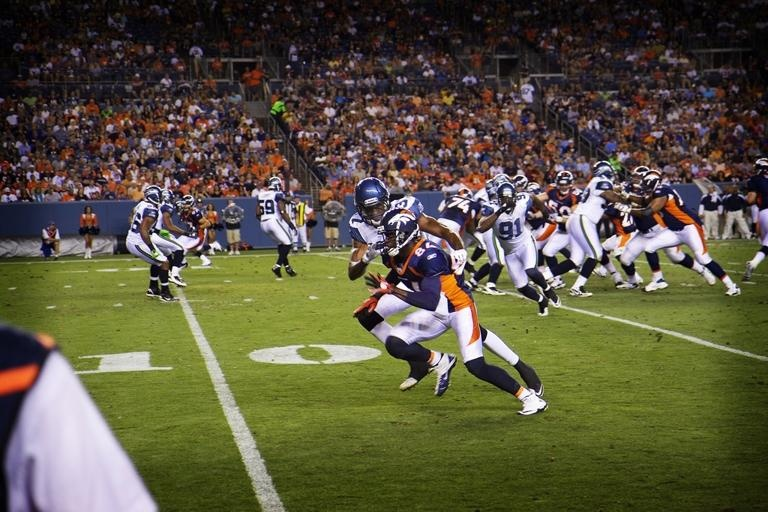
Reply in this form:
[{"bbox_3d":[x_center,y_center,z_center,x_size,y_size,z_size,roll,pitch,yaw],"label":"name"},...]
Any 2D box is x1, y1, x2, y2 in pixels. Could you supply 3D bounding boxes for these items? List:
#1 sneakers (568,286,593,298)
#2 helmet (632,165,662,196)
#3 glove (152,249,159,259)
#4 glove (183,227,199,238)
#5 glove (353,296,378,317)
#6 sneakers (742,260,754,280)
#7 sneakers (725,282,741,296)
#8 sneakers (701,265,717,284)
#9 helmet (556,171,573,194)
[{"bbox_3d":[3.128,0.570,13.578,0.415,0.171,0.135,1,26,-1],"label":"sneakers"},{"bbox_3d":[4.196,-1.222,13.512,0.583,0.470,0.418,-13,8,5],"label":"helmet"},{"bbox_3d":[-3.688,-0.042,13.628,0.116,0.111,0.085,-2,5,11],"label":"glove"},{"bbox_3d":[-3.751,-0.461,16.464,0.187,0.214,0.540,-12,-4,-22],"label":"glove"},{"bbox_3d":[-0.169,0.483,8.074,0.269,0.173,0.077,-32,-42,18],"label":"glove"},{"bbox_3d":[6.620,0.265,15.409,0.124,0.328,0.174,12,20,43],"label":"sneakers"},{"bbox_3d":[5.536,0.526,13.334,0.121,0.150,0.376,-12,-6,40],"label":"sneakers"},{"bbox_3d":[5.346,0.290,13.935,0.120,0.353,0.157,-49,-10,37],"label":"sneakers"},{"bbox_3d":[3.294,-1.385,15.679,0.399,0.409,0.496,2,23,20],"label":"helmet"}]
